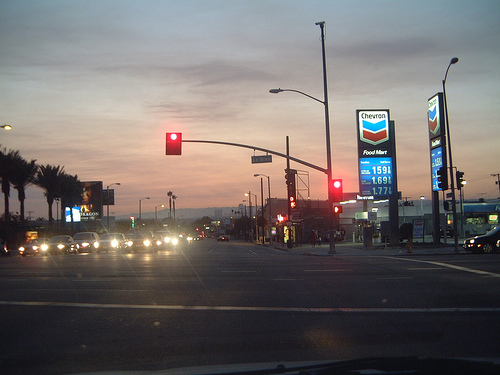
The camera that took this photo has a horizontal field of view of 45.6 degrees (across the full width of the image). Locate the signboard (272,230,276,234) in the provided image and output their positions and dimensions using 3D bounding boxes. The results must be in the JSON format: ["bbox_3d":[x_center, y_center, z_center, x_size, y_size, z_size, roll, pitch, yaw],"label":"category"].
[{"bbox_3d":[4.456,8.244,109.828,0.551,0.541,0.568,0,-6,7],"label":"signboard"}]

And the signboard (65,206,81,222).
[{"bbox_3d":[-29.612,4.393,99.291,2.656,2.825,1.476,-2,-10,-1],"label":"signboard"}]

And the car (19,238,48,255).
[{"bbox_3d":[-16.969,4.638,47.263,1.393,1.097,2.305,-6,-10,40],"label":"car"}]

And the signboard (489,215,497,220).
[{"bbox_3d":[34.133,4.177,83.377,0.881,0.604,0.487,-3,1,13],"label":"signboard"}]

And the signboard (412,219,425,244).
[{"bbox_3d":[15.056,3.641,53.110,0.977,1.729,2.114,-4,-7,13],"label":"signboard"}]

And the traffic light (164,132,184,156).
[{"bbox_3d":[-4.125,-2.447,32.512,0.816,1.367,2.539,-1,-7,-11],"label":"traffic light"}]

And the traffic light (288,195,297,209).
[{"bbox_3d":[3.944,1.358,55.428,0.731,1.267,1.091,-2,-6,0],"label":"traffic light"}]

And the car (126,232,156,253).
[{"bbox_3d":[-8.666,4.314,47.165,1.697,1.553,2.788,-4,-7,18],"label":"car"}]

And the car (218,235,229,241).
[{"bbox_3d":[-5.605,10.577,123.640,1.868,0.960,2.793,-2,-7,-8],"label":"car"}]

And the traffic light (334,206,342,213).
[{"bbox_3d":[6.298,1.579,42.694,0.458,0.356,0.462,1,-3,-24],"label":"traffic light"}]

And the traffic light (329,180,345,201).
[{"bbox_3d":[5.630,0.158,39.149,1.274,1.906,0.995,-1,4,-4],"label":"traffic light"}]

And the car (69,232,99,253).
[{"bbox_3d":[-14.159,4.673,50.879,1.285,1.137,2.439,-1,-9,-2],"label":"car"}]

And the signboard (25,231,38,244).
[{"bbox_3d":[-22.100,5.015,59.899,0.741,1.414,1.417,-2,-3,3],"label":"signboard"}]
